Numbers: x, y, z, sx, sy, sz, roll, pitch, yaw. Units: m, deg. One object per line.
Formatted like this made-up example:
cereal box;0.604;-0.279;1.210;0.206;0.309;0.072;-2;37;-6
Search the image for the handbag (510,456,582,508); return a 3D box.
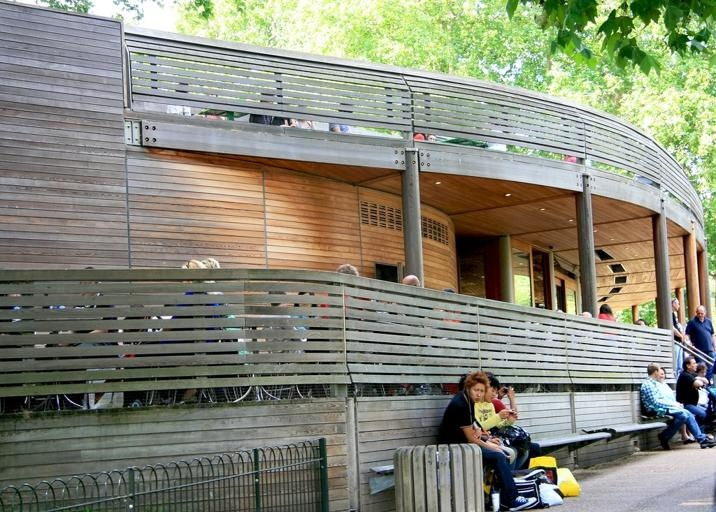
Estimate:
handbag;2.708;3.247;9.414;0.917;0.387;0.728;-2;3;-2
